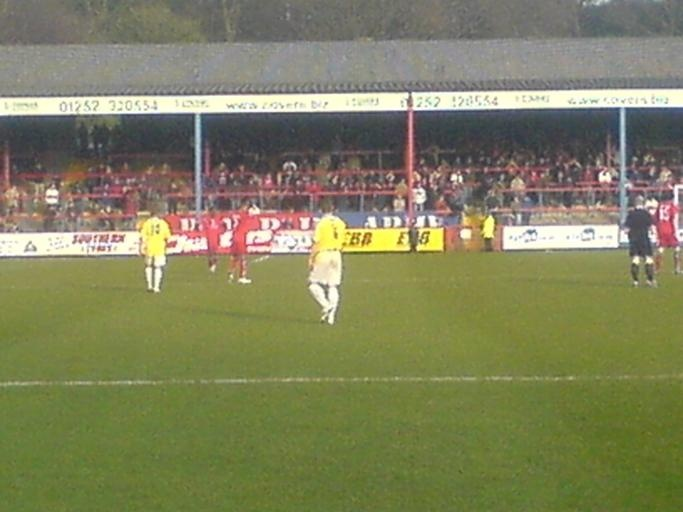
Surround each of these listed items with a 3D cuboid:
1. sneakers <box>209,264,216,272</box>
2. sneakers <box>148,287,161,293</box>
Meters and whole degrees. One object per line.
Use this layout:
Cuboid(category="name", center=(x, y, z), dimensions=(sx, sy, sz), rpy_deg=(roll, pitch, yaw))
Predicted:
Cuboid(category="sneakers", center=(-4.432, 0.346, 53.989), dimensions=(0.227, 0.250, 0.180), rpy_deg=(-8, -15, 40))
Cuboid(category="sneakers", center=(-5.982, 1.001, 50.139), dimensions=(0.456, 0.211, 0.142), rpy_deg=(5, 5, 12))
